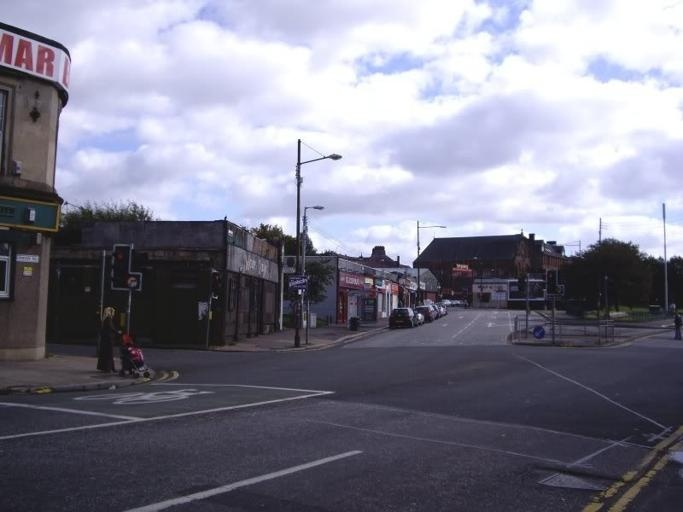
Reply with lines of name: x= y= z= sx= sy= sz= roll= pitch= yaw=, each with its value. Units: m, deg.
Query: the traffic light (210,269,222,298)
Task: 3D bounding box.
traffic light: x=-6.174 y=1.402 z=34.137 sx=0.546 sy=1.593 sz=0.239 roll=3 pitch=-6 yaw=-41

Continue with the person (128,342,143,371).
person: x=-6.234 y=3.039 z=21.057 sx=0.422 sy=0.877 sz=0.279 roll=3 pitch=-5 yaw=-38

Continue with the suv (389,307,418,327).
suv: x=4.750 y=4.908 z=55.133 sx=1.833 sy=1.499 sz=1.463 roll=-1 pitch=-6 yaw=-3
